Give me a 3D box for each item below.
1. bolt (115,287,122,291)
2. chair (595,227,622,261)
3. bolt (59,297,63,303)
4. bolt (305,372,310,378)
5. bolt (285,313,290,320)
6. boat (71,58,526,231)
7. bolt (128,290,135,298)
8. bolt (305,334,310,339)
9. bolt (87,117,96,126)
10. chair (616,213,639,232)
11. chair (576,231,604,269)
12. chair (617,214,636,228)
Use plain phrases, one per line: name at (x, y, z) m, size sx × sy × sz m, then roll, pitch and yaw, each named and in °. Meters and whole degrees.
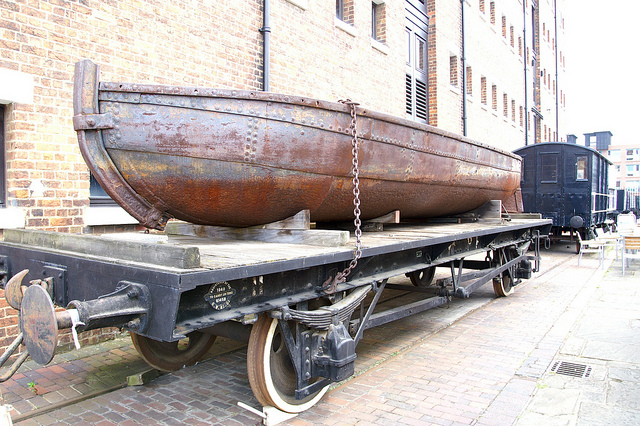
bolt at (-1.618, 0.614, 3.385) m, size 0.033 × 0.010 × 0.044 m, roll 2°, pitch 8°, yaw 6°
chair at (10.007, 1.127, 14.603) m, size 0.990 × 1.175 × 0.929 m, roll -2°, pitch -8°, yaw 19°
bolt at (-2.347, 0.789, 3.813) m, size 0.035 × 0.028 × 0.039 m, roll -29°, pitch -25°, yaw -3°
bolt at (-0.121, 1.569, 4.056) m, size 0.049 × 0.057 × 0.009 m, roll -2°, pitch 5°, yaw -26°
bolt at (-0.297, 0.946, 3.846) m, size 0.047 × 0.053 × 0.010 m, roll -4°, pitch 5°, yaw -43°
boat at (0.113, -0.632, 5.452) m, size 5.676 × 1.800 × 1.468 m, roll -2°, pitch 4°, yaw -30°
bolt at (-1.461, 0.634, 3.270) m, size 0.033 × 0.042 × 0.044 m, roll -2°, pitch 2°, yaw -13°
bolt at (-0.121, 1.200, 4.063) m, size 0.048 × 0.041 × 0.008 m, roll -3°, pitch 5°, yaw -36°
bolt at (-2.191, -0.875, 4.032) m, size 0.074 × 0.070 × 0.017 m, roll 14°, pitch -2°, yaw -15°
chair at (12.789, 0.397, 17.538) m, size 0.832 × 0.698 × 1.452 m, roll 2°, pitch 6°, yaw 38°
chair at (8.941, 1.253, 13.947) m, size 0.886 × 1.218 × 0.980 m, roll -2°, pitch -4°, yaw 32°
chair at (13.138, 0.355, 18.036) m, size 0.598 × 0.655 × 1.128 m, roll 5°, pitch 6°, yaw 39°
